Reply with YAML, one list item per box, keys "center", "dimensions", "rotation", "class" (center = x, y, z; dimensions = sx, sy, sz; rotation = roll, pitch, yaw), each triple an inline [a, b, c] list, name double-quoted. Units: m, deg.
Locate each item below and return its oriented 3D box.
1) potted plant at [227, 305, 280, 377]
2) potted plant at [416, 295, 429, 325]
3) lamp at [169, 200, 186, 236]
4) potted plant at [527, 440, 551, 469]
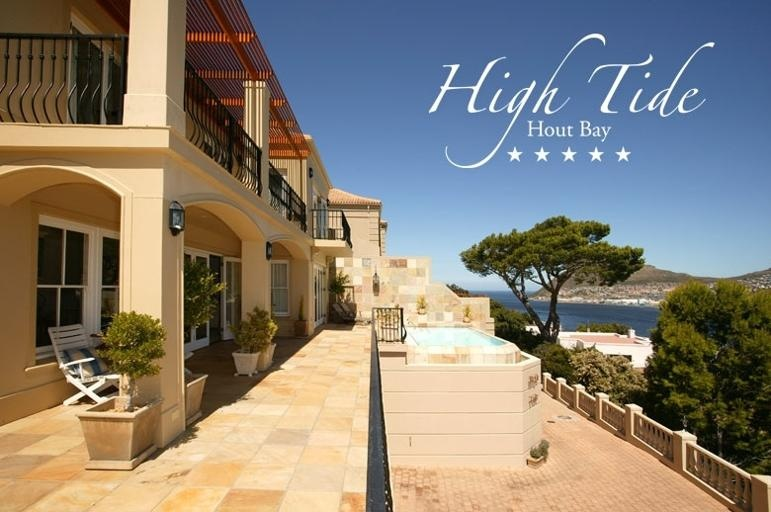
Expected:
- center: [-3.499, 2.239, 14.316]
  dimensions: [1.089, 1.760, 0.649]
  rotation: [1, 4, -18]
  class: "potted plant"
- center: [1.773, 2.474, 25.581]
  dimensions: [0.574, 1.162, 0.729]
  rotation: [3, 4, 3]
  class: "potted plant"
- center: [-4.408, -0.787, 11.287]
  dimensions: [0.286, 0.725, 0.227]
  rotation: [1, 4, -23]
  class: "lamp"
- center: [4.910, 6.246, 17.033]
  dimensions: [0.355, 0.518, 1.206]
  rotation: [-4, -17, 22]
  class: "potted plant"
